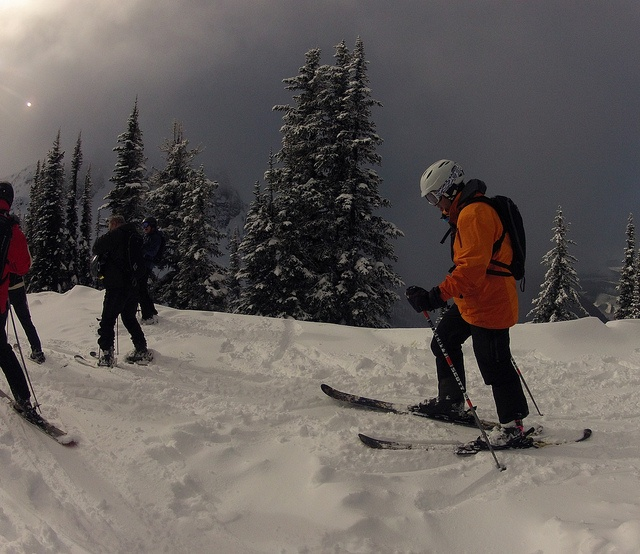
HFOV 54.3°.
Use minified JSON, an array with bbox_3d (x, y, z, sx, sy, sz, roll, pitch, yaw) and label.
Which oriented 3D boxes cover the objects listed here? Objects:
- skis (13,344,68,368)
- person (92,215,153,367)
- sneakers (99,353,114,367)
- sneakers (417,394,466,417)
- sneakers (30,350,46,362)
[{"bbox_3d":[-4.149,1.171,9.251,0.487,0.252,0.172,24,16,14],"label":"skis"},{"bbox_3d":[-3.057,0.172,9.565,0.693,2.368,0.848,-1,-2,35],"label":"person"},{"bbox_3d":[-3.167,1.224,9.283,0.206,0.243,0.159,1,1,-2],"label":"sneakers"},{"bbox_3d":[1.499,1.567,7.723,0.588,0.324,0.218,5,0,16],"label":"sneakers"},{"bbox_3d":[-4.154,1.164,9.226,0.289,0.141,0.100,18,7,33],"label":"sneakers"}]
